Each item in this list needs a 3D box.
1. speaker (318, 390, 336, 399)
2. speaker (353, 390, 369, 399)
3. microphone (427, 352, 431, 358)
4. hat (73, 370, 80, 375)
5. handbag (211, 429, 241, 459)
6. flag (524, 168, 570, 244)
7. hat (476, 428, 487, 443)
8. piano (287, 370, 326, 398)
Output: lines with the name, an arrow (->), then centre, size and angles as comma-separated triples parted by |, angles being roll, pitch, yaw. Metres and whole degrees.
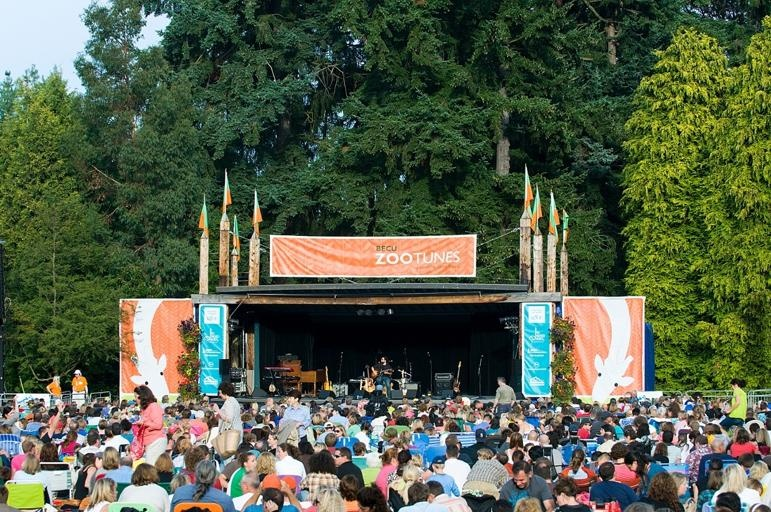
speaker -> -2.300, 5.319, 75.127 | 0.502, 0.271, 0.516 | -4, -8, 20
speaker -> -0.963, 5.336, 75.352 | 0.416, 0.289, 0.427 | -4, -8, 34
microphone -> 1.786, 4.225, 83.404 | 0.153, 0.144, 0.043 | -7, -6, 20
hat -> -12.100, 4.649, 78.487 | 0.285, 0.152, 0.414 | 0, -9, -5
handbag -> -5.150, 6.248, 64.518 | 0.682, 0.482, 0.391 | -19, -39, 3
flag -> 6.674, -1.974, 82.880 | 2.625, 3.597, 0.467 | 16, -26, -31
hat -> 3.127, 6.069, 65.857 | 0.363, 0.249, 0.587 | 2, 3, 6
piano -> -3.060, 5.066, 79.068 | 0.986, 1.172, 1.454 | 1, -1, 16
